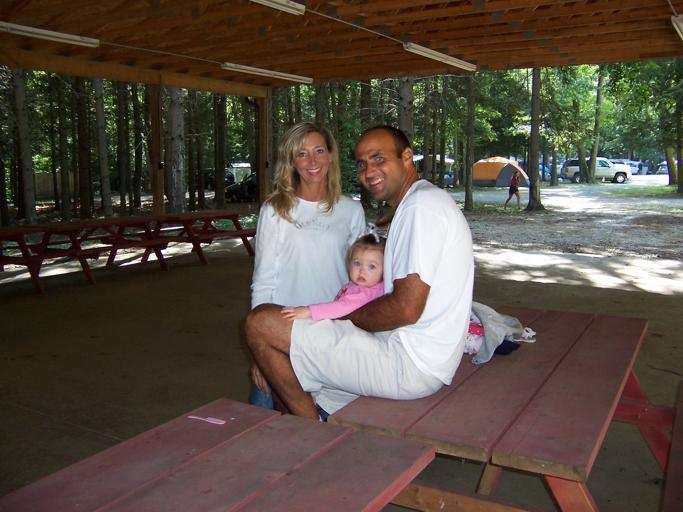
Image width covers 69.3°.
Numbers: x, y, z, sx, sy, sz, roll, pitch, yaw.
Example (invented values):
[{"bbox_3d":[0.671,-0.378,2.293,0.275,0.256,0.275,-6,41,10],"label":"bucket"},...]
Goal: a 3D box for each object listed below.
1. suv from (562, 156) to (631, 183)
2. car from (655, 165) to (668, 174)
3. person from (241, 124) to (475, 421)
[{"bbox_3d":[21.896,-7.407,42.243,4.810,2.169,2.577,5,9,32],"label":"suv"},{"bbox_3d":[42.392,-11.625,65.025,1.040,0.981,3.507,4,8,28],"label":"car"},{"bbox_3d":[0.068,0.121,2.628,1.196,1.500,0.910,3,6,-3],"label":"person"}]
